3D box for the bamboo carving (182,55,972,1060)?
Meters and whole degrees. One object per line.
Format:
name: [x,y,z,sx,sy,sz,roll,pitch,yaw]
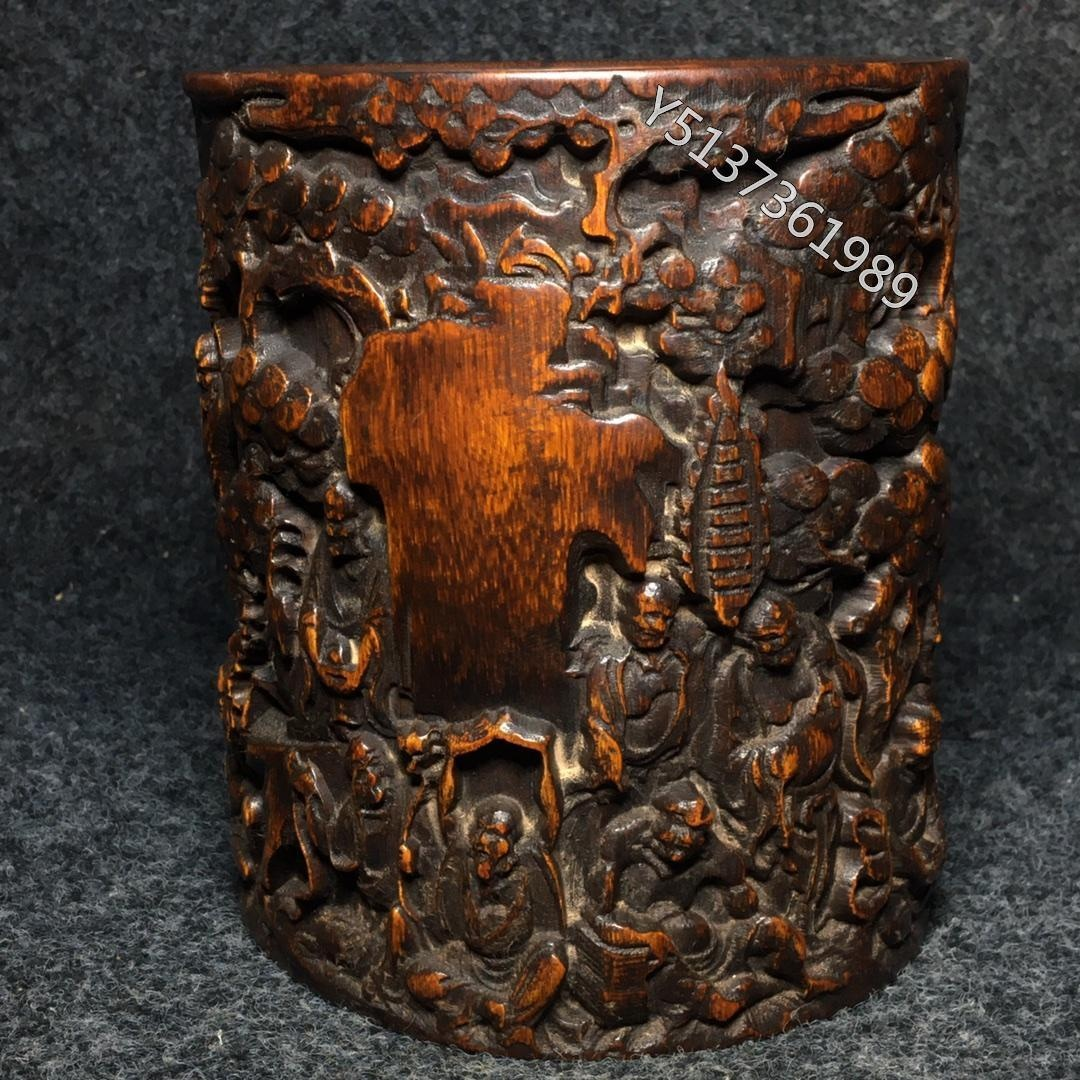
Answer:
bamboo carving: [-0.005,-0.228,2.704,0.729,0.878,1.031,-4,-59,-3]
